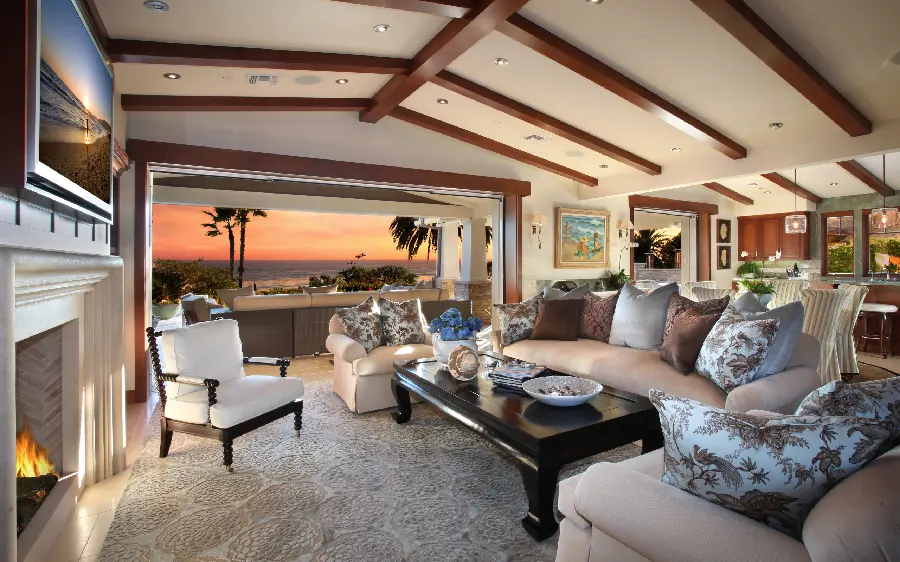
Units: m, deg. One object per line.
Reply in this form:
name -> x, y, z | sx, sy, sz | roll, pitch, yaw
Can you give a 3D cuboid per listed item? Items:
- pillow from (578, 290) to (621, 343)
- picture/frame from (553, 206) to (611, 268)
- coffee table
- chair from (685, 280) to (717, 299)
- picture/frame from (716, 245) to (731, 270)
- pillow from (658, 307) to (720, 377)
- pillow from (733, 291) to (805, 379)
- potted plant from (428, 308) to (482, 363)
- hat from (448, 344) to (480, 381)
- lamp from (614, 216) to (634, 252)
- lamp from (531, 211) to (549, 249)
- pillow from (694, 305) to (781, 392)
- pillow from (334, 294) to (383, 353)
pillow -> 1.574, 0.398, 5.381 | 0.329, 0.491, 0.558 | 11, -3, -18
picture/frame -> 2.212, -0.753, 8.679 | 1.321, 0.923, 0.096 | -1, 0, -33
coffee table -> 0.834, 0.893, 3.697 | 1.122, 0.451, 1.714 | -1, 3, -30
chair -> 3.365, 0.113, 6.823 | 0.239, 0.263, 0.252 | -12, 13, -38
picture/frame -> 5.592, -0.492, 10.433 | 0.619, 0.579, 0.065 | -1, 5, -30
pillow -> 2.046, 0.524, 4.321 | 0.255, 0.472, 0.429 | 40, -42, -17
pillow -> 2.557, 0.435, 4.034 | 0.210, 0.575, 0.643 | 21, 9, -9
potted plant -> 0.010, 0.476, 4.740 | 0.561, 0.469, 0.451 | -1, 3, 21
hat -> 0.114, 0.684, 4.231 | 0.304, 0.251, 0.074 | -11, -4, -24
lamp -> 3.236, -0.842, 9.298 | 0.227, 0.582, 0.702 | 8, 15, 34
lamp -> 1.472, -0.789, 8.227 | 0.207, 0.565, 0.369 | 11, 18, 42
pillow -> 2.210, 0.526, 3.933 | 0.194, 0.547, 0.574 | 22, 11, -21
pillow -> -0.921, 0.451, 5.390 | 0.173, 0.478, 0.577 | -28, -9, 33
